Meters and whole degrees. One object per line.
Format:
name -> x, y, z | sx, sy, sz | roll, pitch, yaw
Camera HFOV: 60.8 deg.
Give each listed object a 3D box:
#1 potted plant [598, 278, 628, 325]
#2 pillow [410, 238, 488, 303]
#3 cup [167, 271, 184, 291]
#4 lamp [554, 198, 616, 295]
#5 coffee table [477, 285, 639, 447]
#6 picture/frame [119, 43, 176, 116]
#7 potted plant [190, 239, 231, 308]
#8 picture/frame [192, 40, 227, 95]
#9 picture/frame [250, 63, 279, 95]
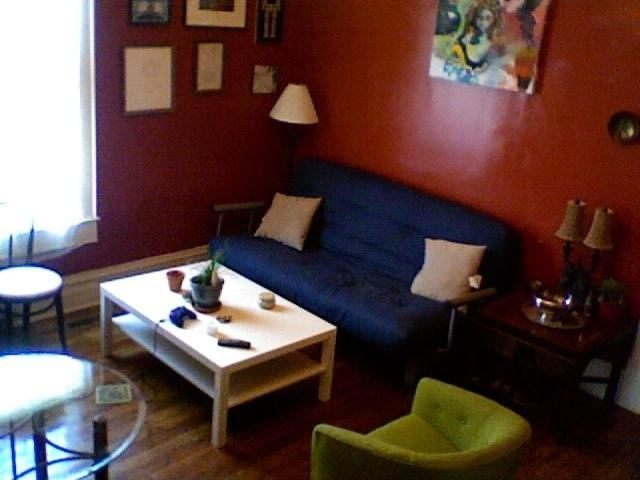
potted plant -> 1.931, 0.396, 3.624 | 0.170, 0.287, 0.070 | 4, 1, 18
pillow -> 0.929, 0.215, 4.006 | 0.459, 0.385, 0.320 | 11, 22, 20
cup -> -0.989, 0.271, 3.797 | 0.130, 0.132, 0.133 | 0, 8, 0
lamp -> 1.798, 0.037, 3.678 | 0.227, 0.641, 0.408 | -19, 36, -29
coffee table -> 1.526, 0.751, 3.772 | 0.826, 0.653, 0.882 | -16, 28, -41
picture/frame -> -1.377, -1.287, 4.290 | 0.521, 0.508, 0.051 | -17, 24, -35
potted plant -> -0.706, 0.242, 3.577 | 0.213, 0.393, 0.204 | 4, 6, -8
picture/frame -> -0.954, -1.481, 4.613 | 0.435, 0.492, 0.052 | -12, 23, -43
picture/frame -> -0.525, -1.492, 5.000 | 0.293, 0.245, 0.042 | -16, 26, -41
